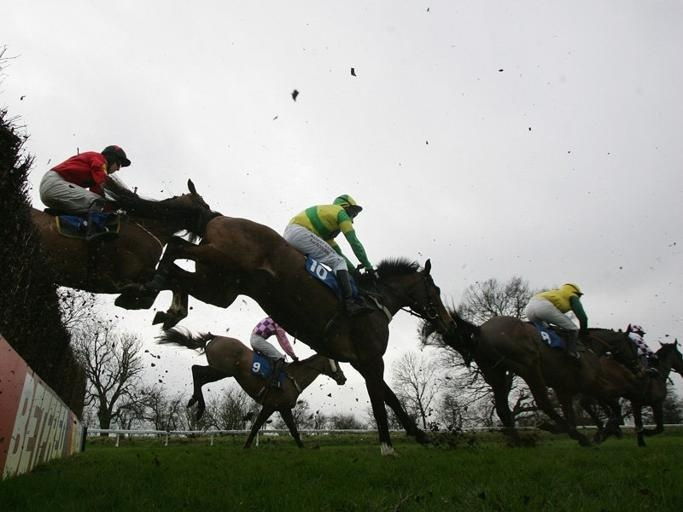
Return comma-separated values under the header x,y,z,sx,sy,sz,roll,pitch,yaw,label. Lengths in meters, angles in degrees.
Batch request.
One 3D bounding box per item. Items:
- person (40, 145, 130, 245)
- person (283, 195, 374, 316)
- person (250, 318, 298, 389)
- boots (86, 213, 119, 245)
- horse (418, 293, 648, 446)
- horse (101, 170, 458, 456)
x,y,z,sx,sy,sz,roll,pitch,yaw,label
-3.131,-0.764,6.583,1.007,1.361,0.543,-1,-21,-21,person
-0.180,-0.041,7.811,1.245,2.026,0.690,0,-25,-15,person
-1.390,1.861,10.939,0.874,1.608,0.703,-1,-28,-6,person
-2.780,-0.329,6.236,0.288,0.316,0.371,-1,-2,42,boots
3.407,2.023,9.576,4.720,2.460,0.944,13,-27,-13,horse
-0.750,0.490,7.324,5.117,2.880,0.896,27,-34,-13,horse
